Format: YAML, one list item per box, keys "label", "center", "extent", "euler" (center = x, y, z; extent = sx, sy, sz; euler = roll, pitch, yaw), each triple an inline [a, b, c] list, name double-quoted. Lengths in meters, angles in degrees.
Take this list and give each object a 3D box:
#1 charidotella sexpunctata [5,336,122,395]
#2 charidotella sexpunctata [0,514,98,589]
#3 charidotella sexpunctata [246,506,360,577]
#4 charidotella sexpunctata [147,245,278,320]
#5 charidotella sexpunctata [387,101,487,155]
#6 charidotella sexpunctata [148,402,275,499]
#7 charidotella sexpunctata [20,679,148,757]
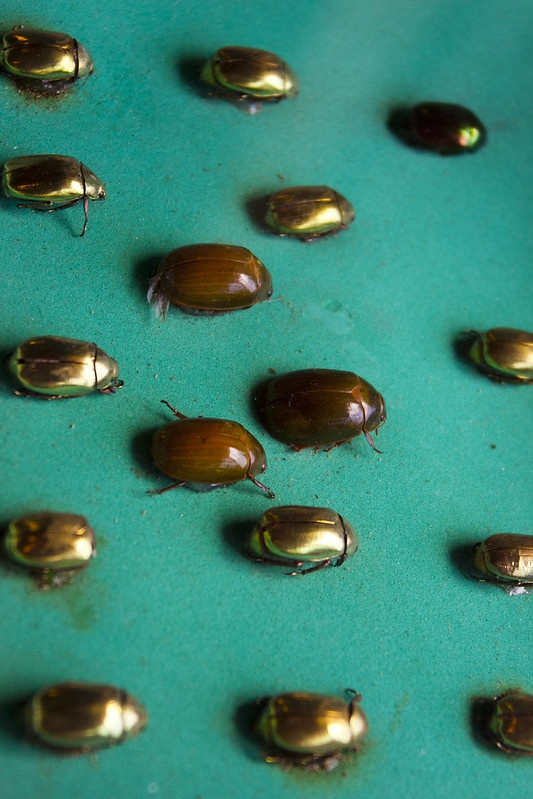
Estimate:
- label: "charidotella sexpunctata"
  center: [-0.433, -0.055, 1.616]
  extent: [0.248, 0.146, 0.097]
  euler: [0, 33, -13]
- label: "charidotella sexpunctata"
  center: [-0.455, 0.316, 1.561]
  extent: [0.192, 0.148, 0.094]
  euler: [1, 32, -11]
- label: "charidotella sexpunctata"
  center: [0.085, 0.292, 1.586]
  extent: [0.199, 0.064, 0.140]
  euler: [-2, 61, -4]
- label: "charidotella sexpunctata"
  center: [-0.125, -0.284, 1.743]
  extent: [0.289, 0.086, 0.191]
  euler: [-4, 42, -22]
- label: "charidotella sexpunctata"
  center: [0.454, -0.721, 1.981]
  extent: [0.271, 0.126, 0.108]
  euler: [11, 31, 6]
- label: "charidotella sexpunctata"
  center: [-0.110, 0.136, 1.636]
  extent: [0.281, 0.178, 0.104]
  euler: [4, 32, -5]
- label: "charidotella sexpunctata"
  center: [-0.357, 0.638, 1.492]
  extent: [0.236, 0.123, 0.114]
  euler: [1, 32, -11]
